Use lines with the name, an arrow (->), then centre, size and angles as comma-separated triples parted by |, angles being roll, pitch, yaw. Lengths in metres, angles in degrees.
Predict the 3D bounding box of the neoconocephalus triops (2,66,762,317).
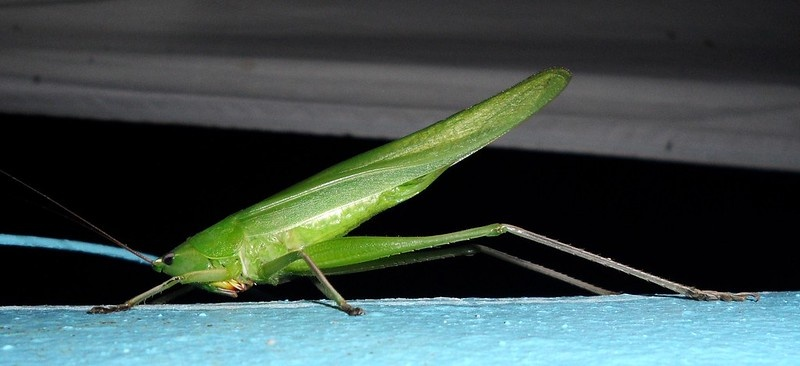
neoconocephalus triops -> -0.178, 0.090, 3.785 | 3.854, 1.128, 1.396 | -6, 8, 21
